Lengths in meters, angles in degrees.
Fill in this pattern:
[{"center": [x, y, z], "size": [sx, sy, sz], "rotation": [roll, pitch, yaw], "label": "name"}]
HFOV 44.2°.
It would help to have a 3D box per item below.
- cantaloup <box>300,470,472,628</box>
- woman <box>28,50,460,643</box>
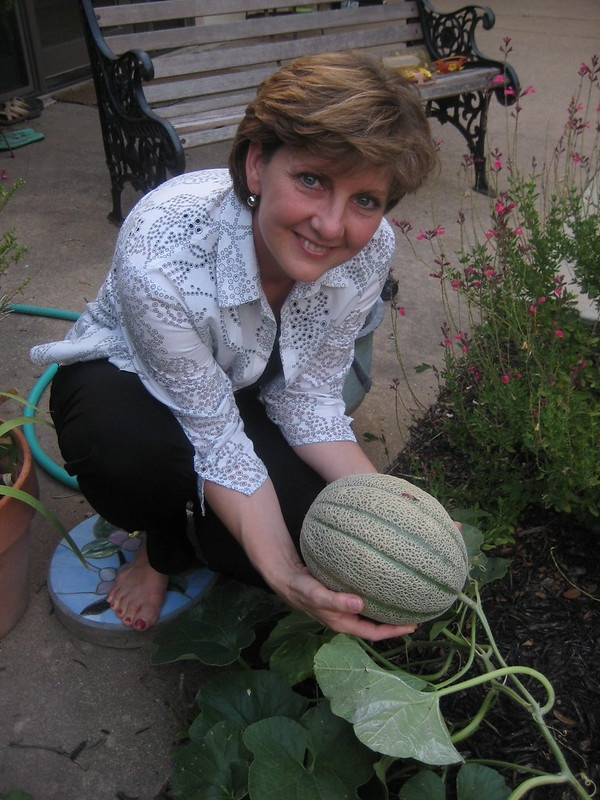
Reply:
[{"center": [0.133, 0.264, 1.399], "size": [0.319, 0.224, 0.249], "rotation": [26, 58, 23], "label": "cantaloup"}, {"center": [-0.165, -0.078, 1.564], "size": [0.873, 1.178, 0.866], "rotation": [3, 33, 9], "label": "woman"}]
